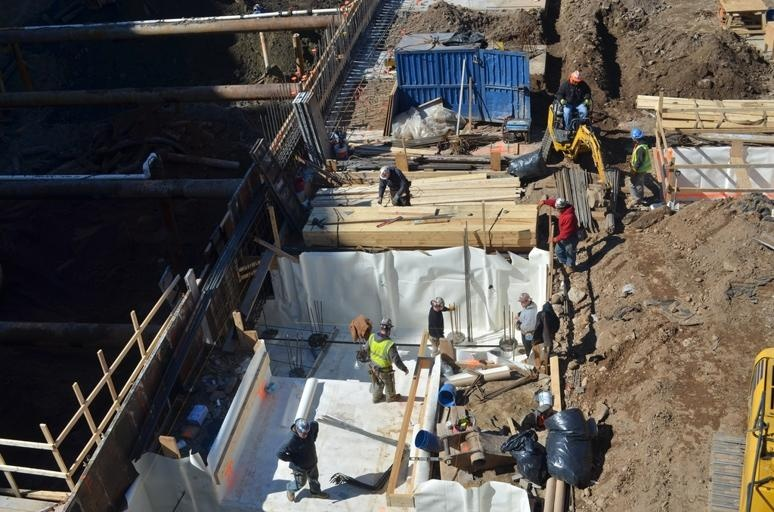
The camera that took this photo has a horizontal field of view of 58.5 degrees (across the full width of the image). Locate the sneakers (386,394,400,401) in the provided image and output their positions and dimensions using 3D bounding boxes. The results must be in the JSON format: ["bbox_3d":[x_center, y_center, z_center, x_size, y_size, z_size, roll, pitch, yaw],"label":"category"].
[{"bbox_3d":[0.188,3.689,18.474,0.286,0.301,0.161,-13,60,-1],"label":"sneakers"}]

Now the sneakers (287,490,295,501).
[{"bbox_3d":[-2.293,5.726,16.722,0.119,0.269,0.239,-7,-4,-21],"label":"sneakers"}]

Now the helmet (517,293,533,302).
[{"bbox_3d":[3.648,1.085,18.093,0.275,0.247,0.221,-1,13,4],"label":"helmet"}]

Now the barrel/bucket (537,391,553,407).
[{"bbox_3d":[3.941,3.529,17.141,0.338,0.428,0.612,1,18,8],"label":"barrel/bucket"}]

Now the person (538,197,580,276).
[{"bbox_3d":[5.012,-0.495,19.985,0.770,1.849,1.134,-11,48,7],"label":"person"}]

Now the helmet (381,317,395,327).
[{"bbox_3d":[0.061,1.649,17.752,0.207,0.135,0.301,5,-9,28],"label":"helmet"}]

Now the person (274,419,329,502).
[{"bbox_3d":[-1.890,4.852,16.620,1.046,2.418,0.720,-18,32,-25],"label":"person"}]

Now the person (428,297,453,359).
[{"bbox_3d":[1.513,2.038,19.447,0.521,0.540,1.426,-9,-23,3],"label":"person"}]

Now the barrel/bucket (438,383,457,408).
[{"bbox_3d":[1.592,3.472,17.622,0.426,0.582,0.402,-6,13,1],"label":"barrel/bucket"}]

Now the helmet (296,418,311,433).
[{"bbox_3d":[-1.957,3.915,16.189,0.233,0.330,0.295,3,-24,-4],"label":"helmet"}]

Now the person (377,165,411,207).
[{"bbox_3d":[0.255,-2.242,21.830,1.016,1.197,0.710,-1,17,1],"label":"person"}]

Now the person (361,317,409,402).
[{"bbox_3d":[-0.025,2.772,18.094,1.122,2.415,0.727,13,28,23],"label":"person"}]

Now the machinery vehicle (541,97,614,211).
[{"bbox_3d":[6.068,-3.476,21.933,1.241,1.844,4.489,-3,42,-6],"label":"machinery vehicle"}]

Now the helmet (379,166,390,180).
[{"bbox_3d":[-0.019,-2.627,21.592,0.263,0.222,0.434,4,36,9],"label":"helmet"}]

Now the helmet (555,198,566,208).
[{"bbox_3d":[4.885,-1.444,19.338,0.311,0.272,0.257,4,18,14],"label":"helmet"}]

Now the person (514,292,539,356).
[{"bbox_3d":[3.782,1.841,18.624,0.646,2.239,0.825,-3,23,0],"label":"person"}]
